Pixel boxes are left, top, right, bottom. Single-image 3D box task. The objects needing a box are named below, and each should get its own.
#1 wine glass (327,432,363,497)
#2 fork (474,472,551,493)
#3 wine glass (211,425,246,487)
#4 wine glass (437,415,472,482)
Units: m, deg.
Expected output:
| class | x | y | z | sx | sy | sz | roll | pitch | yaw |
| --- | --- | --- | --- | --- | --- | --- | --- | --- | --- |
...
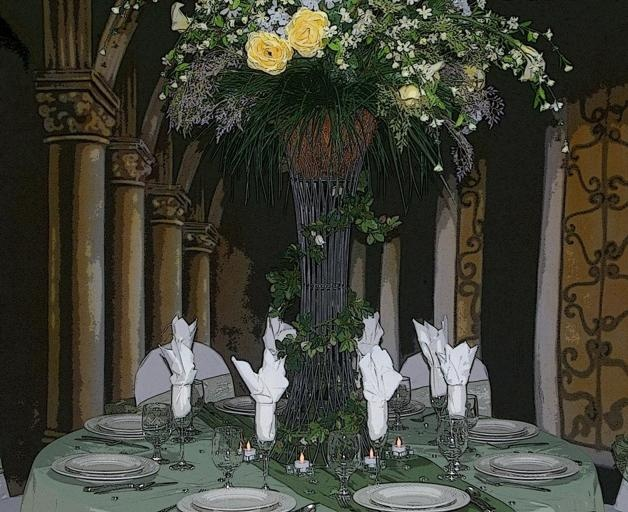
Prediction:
| class | x | y | z | sx | sy | sz | roll | pitch | yaw |
| --- | --- | --- | --- | --- | --- | --- | --- | --- | --- |
| wine glass | 0.097 | 0.844 | 3.573 | 0.111 | 0.279 | 0.140 | -8 | 13 | -37 |
| fork | 0.841 | 0.966 | 3.713 | 0.225 | 0.027 | 0.028 | 10 | -18 | 27 |
| wine glass | -0.370 | 0.822 | 3.630 | 0.124 | 0.220 | 0.070 | -2 | 10 | -8 |
| wine glass | 0.593 | 0.814 | 3.825 | 0.123 | 0.290 | 0.251 | 2 | 10 | 12 |
